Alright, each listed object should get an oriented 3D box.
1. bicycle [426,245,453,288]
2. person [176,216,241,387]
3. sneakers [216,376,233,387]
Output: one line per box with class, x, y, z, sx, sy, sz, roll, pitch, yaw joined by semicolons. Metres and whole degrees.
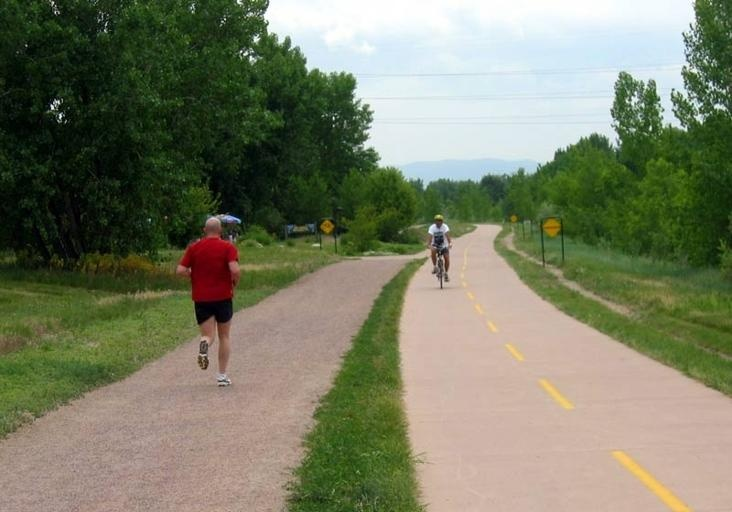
bicycle;2.783;0.277;30.422;0.914;1.524;2.443;-2;17;3
person;-3.164;0.900;16.535;1.098;3.402;1.267;-3;9;-13
sneakers;-2.876;2.531;16.365;0.133;0.190;0.364;3;9;11
